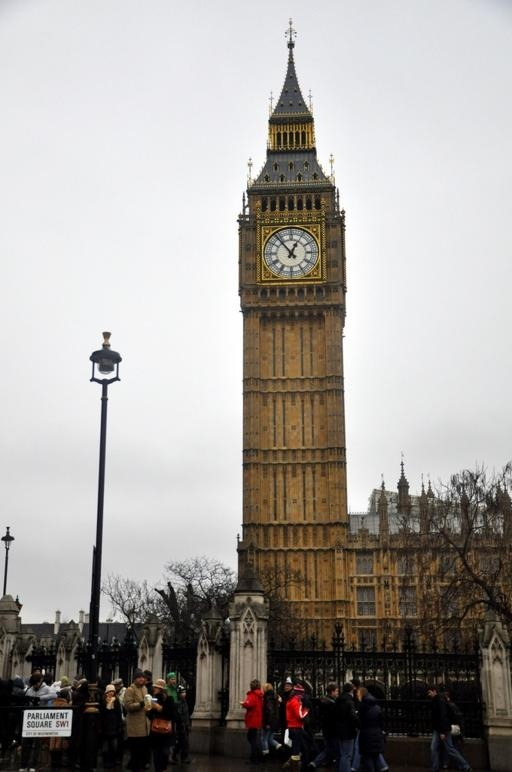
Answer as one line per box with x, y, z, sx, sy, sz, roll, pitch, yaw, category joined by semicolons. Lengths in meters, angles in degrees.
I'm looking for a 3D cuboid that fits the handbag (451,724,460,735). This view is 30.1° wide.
3.096;5.293;14.747;0.160;0.187;0.132;-1;-16;1;handbag

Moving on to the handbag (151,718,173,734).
-1.259;4.552;12.763;0.270;0.284;0.172;2;-41;0;handbag
